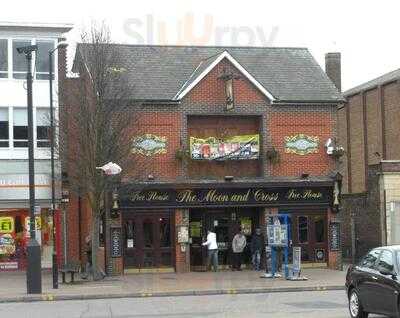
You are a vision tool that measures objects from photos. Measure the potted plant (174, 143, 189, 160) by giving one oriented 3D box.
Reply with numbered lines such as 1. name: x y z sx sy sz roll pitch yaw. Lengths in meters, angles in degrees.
1. potted plant: -0.827 -0.343 50.054 0.688 0.746 0.712 -6 -9 24

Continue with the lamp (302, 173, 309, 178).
1. lamp: 5.165 0.831 50.918 0.330 0.347 0.176 1 6 0

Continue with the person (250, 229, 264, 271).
1. person: 2.763 4.416 50.182 0.650 1.890 1.262 -1 -8 3

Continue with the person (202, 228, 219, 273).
1. person: 0.482 4.454 50.048 0.739 2.037 1.495 -1 -8 -1

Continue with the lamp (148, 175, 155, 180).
1. lamp: -2.325 0.887 49.347 0.303 0.255 0.149 2 -8 -19

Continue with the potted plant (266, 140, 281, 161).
1. potted plant: 3.561 -0.380 50.765 0.670 1.050 0.452 -1 -8 -1

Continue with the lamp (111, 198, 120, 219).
1. lamp: -3.934 2.392 48.796 0.435 0.784 0.388 3 -9 -28

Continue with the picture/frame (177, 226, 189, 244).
1. picture/frame: -0.852 3.667 49.636 0.782 1.124 0.121 1 -8 -8

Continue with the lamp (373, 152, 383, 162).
1. lamp: 9.762 -0.107 57.116 0.529 0.719 0.357 -1 8 -1

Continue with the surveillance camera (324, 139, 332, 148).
1. surveillance camera: 6.305 -0.757 51.335 0.113 0.428 0.269 7 -40 40

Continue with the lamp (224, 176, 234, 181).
1. lamp: 1.369 0.975 50.136 0.420 0.288 0.420 -1 -9 -1

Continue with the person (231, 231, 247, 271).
1. person: 1.854 4.485 50.182 0.634 1.851 0.798 -1 -8 1

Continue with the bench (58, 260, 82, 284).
1. bench: -5.886 5.009 46.166 0.609 0.951 1.568 6 -5 -28
